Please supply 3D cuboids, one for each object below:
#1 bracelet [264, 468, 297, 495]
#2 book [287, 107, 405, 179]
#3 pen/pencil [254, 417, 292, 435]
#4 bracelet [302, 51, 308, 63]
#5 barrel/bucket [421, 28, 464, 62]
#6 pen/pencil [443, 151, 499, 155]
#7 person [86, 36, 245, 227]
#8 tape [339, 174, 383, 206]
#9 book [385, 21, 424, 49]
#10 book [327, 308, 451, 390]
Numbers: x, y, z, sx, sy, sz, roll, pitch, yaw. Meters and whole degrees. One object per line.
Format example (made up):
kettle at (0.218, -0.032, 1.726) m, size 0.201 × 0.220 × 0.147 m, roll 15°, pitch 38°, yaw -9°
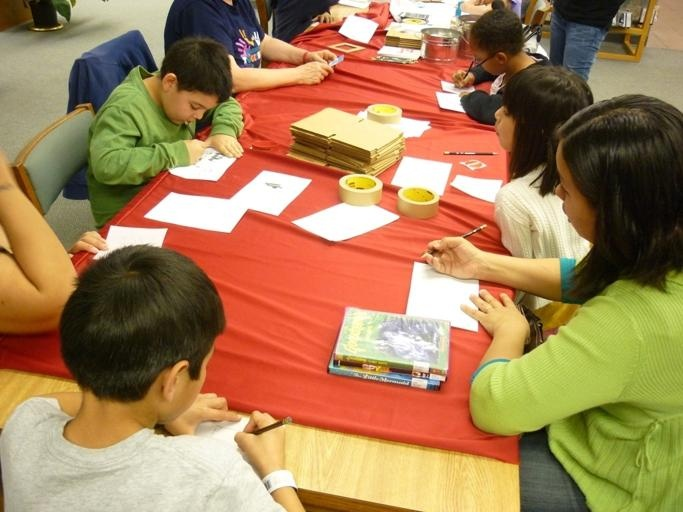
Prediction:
bracelet at (-0.139, 0.497, 1.125) m, size 0.049 × 0.038 × 0.045 m, roll -10°, pitch 32°, yaw 6°
book at (0.011, -0.516, 2.218) m, size 0.365 × 0.130 × 0.321 m, roll 22°, pitch 39°, yaw 16°
pen/pencil at (-0.170, 0.411, 1.229) m, size 0.107 × 0.026 × 0.020 m, roll -18°, pitch 7°, yaw 16°
bracelet at (-0.234, -1.258, 3.202) m, size 0.020 × 0.070 × 0.050 m, roll 9°, pitch 23°, yaw -20°
barrel/bucket at (0.657, -1.369, 3.385) m, size 0.221 × 0.164 × 0.242 m, roll 0°, pitch 35°, yaw 0°
pen/pencil at (0.598, -0.486, 2.383) m, size 0.198 × 0.017 × 0.016 m, roll 1°, pitch 12°, yaw 1°
person at (-0.750, -0.510, 2.152) m, size 0.422 × 0.765 × 0.482 m, roll 24°, pitch 48°, yaw -4°
tape at (0.076, -0.263, 2.007) m, size 0.130 × 0.055 × 0.141 m, roll 17°, pitch 42°, yaw 14°
book at (0.425, -1.554, 3.522) m, size 0.251 × 0.065 × 0.272 m, roll 13°, pitch 41°, yaw 17°
book at (0.145, 0.251, 1.384) m, size 0.212 × 0.055 × 0.222 m, roll 9°, pitch 39°, yaw 8°
